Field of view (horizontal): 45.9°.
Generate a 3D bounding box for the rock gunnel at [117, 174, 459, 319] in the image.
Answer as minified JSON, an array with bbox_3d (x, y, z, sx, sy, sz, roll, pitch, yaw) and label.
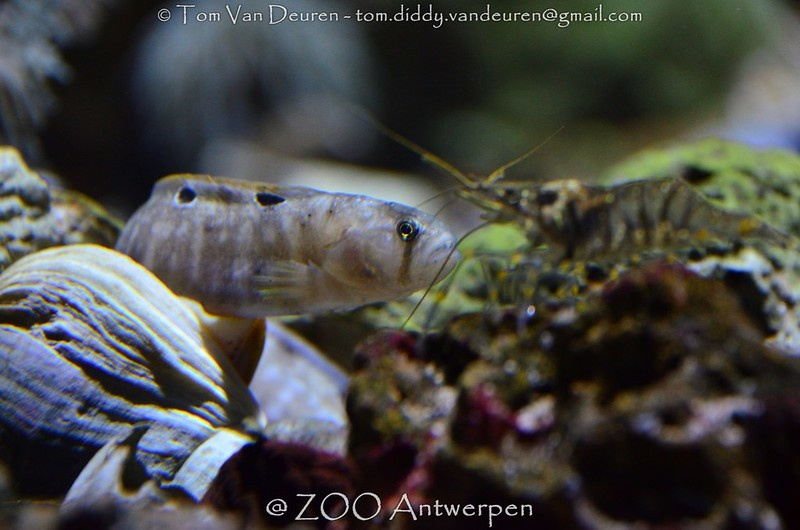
[{"bbox_3d":[-0.176,-0.044,1.715,0.704,0.225,0.285,0,94,8],"label":"rock gunnel"}]
